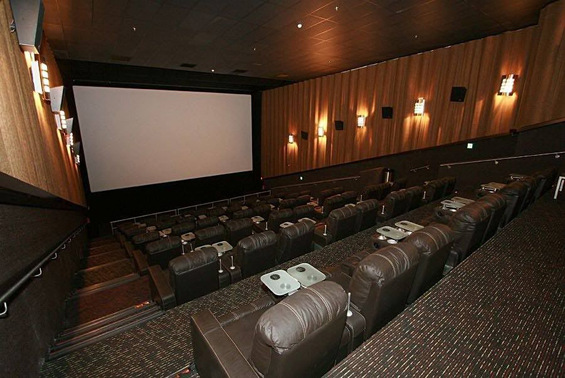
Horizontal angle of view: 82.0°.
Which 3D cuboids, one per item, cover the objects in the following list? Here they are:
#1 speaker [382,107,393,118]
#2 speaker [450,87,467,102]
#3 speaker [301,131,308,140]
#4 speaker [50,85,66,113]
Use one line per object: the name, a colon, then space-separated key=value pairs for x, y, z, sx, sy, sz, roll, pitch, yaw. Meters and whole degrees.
speaker: x=3.448 y=-2.444 z=10.319 sx=0.268 sy=0.355 sz=0.193 roll=22 pitch=35 yaw=38
speaker: x=4.895 y=-2.556 z=8.778 sx=0.390 sy=0.412 sz=0.177 roll=7 pitch=20 yaw=28
speaker: x=0.965 y=-2.236 z=13.495 sx=0.095 sy=0.326 sz=0.381 roll=-6 pitch=9 yaw=-35
speaker: x=-4.812 y=-1.868 z=6.786 sx=0.319 sy=0.541 sz=0.435 roll=-13 pitch=20 yaw=-32
